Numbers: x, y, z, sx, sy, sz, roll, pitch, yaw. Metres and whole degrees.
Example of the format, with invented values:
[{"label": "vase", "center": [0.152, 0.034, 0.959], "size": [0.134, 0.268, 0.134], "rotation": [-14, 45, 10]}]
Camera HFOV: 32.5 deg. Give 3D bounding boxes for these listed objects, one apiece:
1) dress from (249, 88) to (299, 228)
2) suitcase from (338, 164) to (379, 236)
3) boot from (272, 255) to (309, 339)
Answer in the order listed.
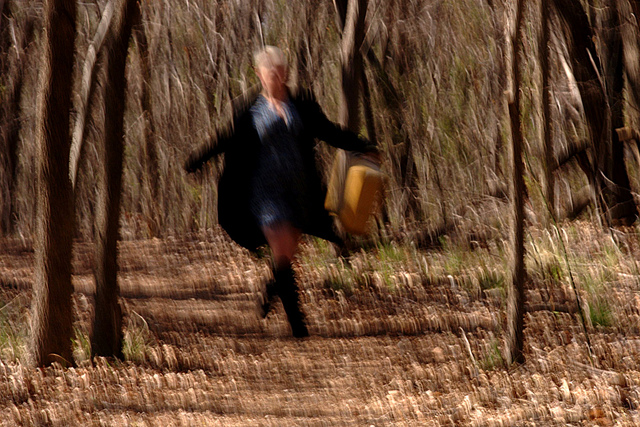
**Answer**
[{"label": "dress", "center": [-0.438, -0.520, 10.895], "size": [0.491, 1.295, 0.259], "rotation": [-3, -7, -7]}, {"label": "suitcase", "center": [0.353, -0.131, 10.980], "size": [0.387, 0.642, 0.555], "rotation": [-3, 5, -20]}, {"label": "boot", "center": [-0.278, 0.860, 11.022], "size": [0.276, 0.825, 0.430], "rotation": [-1, 15, 1]}]
